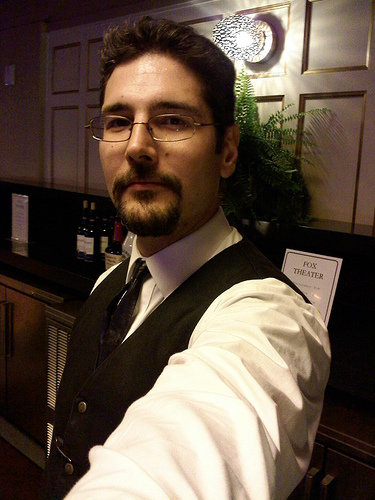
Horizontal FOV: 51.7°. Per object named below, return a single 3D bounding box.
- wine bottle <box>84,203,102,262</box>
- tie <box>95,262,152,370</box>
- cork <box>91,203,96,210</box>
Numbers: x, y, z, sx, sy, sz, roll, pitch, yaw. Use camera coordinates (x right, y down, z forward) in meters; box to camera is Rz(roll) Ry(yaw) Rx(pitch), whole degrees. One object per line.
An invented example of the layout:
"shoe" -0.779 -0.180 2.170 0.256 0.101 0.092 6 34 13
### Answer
"wine bottle" -0.528 -0.107 2.164 0.112 0.323 0.093 8 9 26
"tie" -0.105 0.100 0.831 0.055 0.320 0.032 41 -44 -20
"cork" -0.523 -0.240 2.128 0.021 0.039 0.049 -1 11 -18
